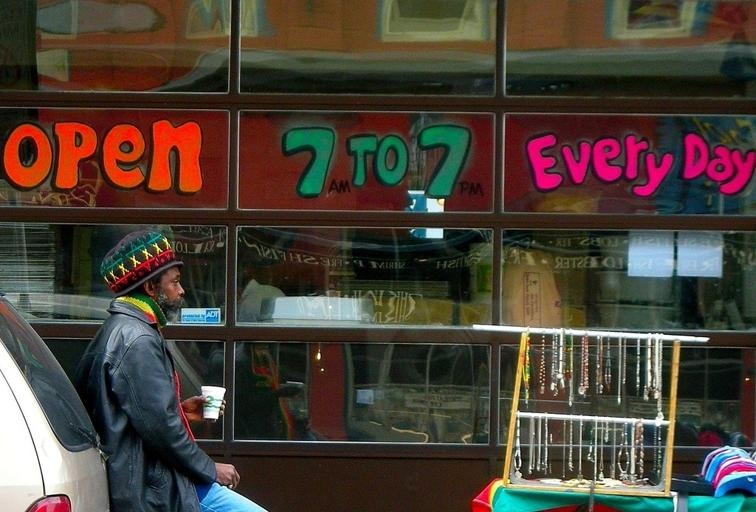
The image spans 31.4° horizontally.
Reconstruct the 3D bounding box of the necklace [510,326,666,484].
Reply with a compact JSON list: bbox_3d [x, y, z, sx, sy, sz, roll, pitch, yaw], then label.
[{"bbox_3d":[1.705,1.233,10.926,1.455,1.187,0.481,1,-12,0],"label":"necklace"}]
